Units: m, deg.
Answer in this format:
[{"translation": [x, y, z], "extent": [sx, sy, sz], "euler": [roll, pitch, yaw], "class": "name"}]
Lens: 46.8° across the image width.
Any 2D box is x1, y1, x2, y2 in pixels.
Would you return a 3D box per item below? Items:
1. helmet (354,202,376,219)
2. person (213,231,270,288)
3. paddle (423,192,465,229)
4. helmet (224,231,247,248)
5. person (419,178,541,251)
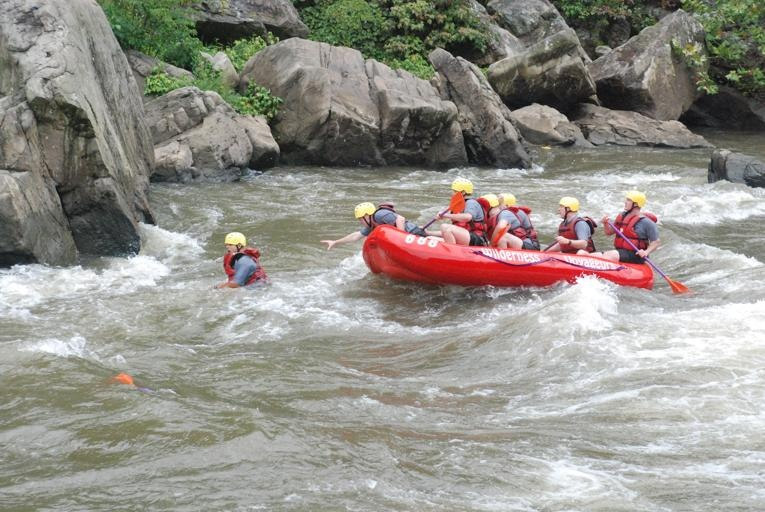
[{"translation": [-0.280, -0.771, 14.879], "extent": [0.333, 0.260, 0.260], "euler": [-2, 11, 6], "class": "helmet"}, {"translation": [-2.275, 0.052, 14.064], "extent": [0.711, 0.854, 0.455], "euler": [-4, 13, 1], "class": "person"}, {"translation": [1.073, -0.735, 14.942], "extent": [1.121, 0.326, 0.059], "euler": [-29, -10, 26], "class": "paddle"}, {"translation": [-2.322, -0.269, 14.140], "extent": [0.492, 0.222, 0.300], "euler": [9, 4, 0], "class": "helmet"}, {"translation": [1.601, -0.625, 15.127], "extent": [2.336, 0.948, 1.154], "euler": [3, -3, -3], "class": "person"}]
